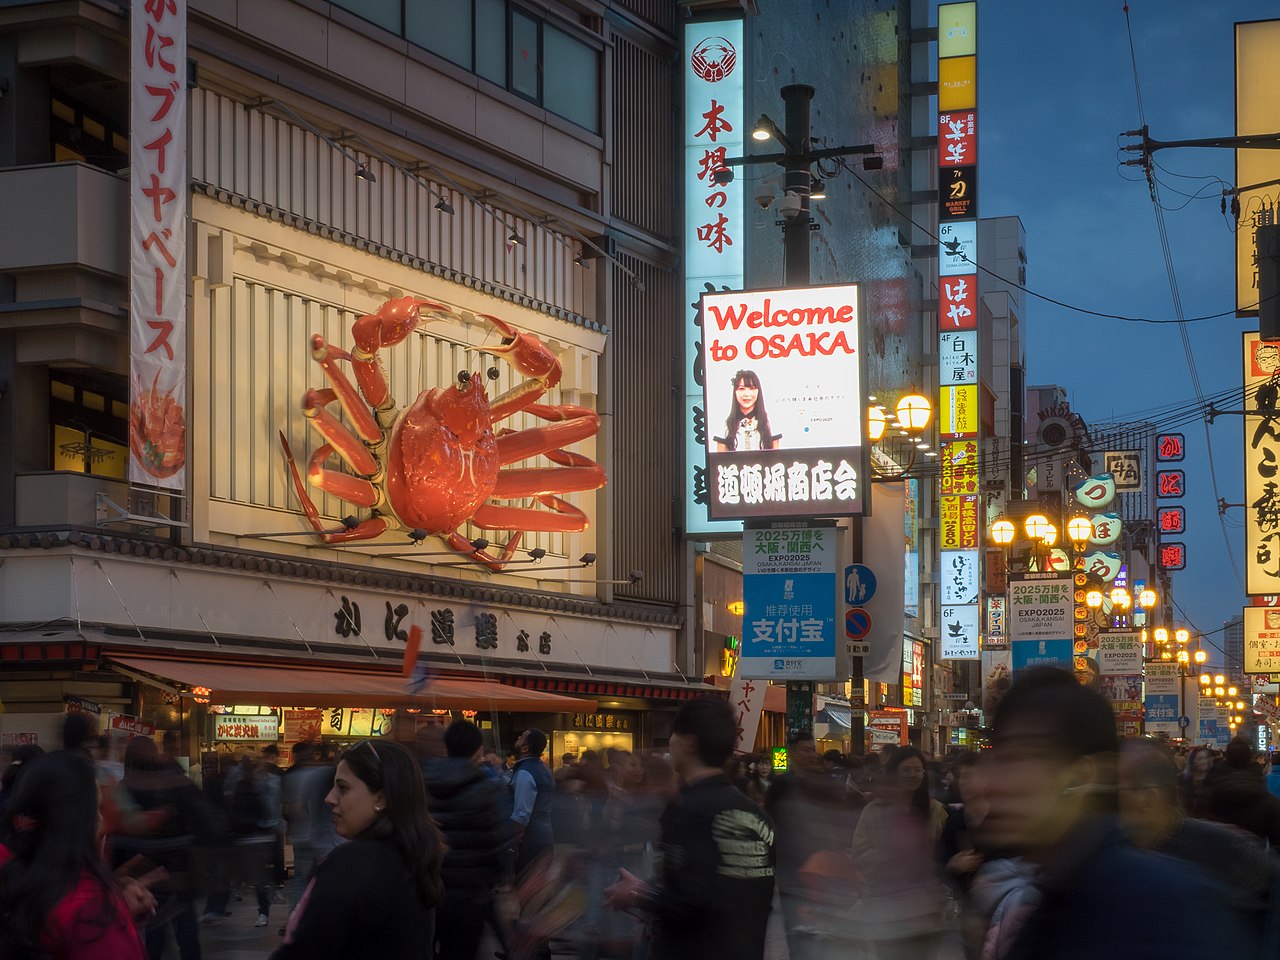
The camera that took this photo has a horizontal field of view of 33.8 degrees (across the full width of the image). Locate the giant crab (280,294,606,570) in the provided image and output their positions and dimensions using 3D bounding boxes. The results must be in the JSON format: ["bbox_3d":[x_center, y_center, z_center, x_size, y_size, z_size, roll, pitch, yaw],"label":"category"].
[{"bbox_3d":[-3.383,-1.203,33.918,2.261,4.207,5.824,-7,-10,38],"label":"giant crab"}]

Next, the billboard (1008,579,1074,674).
[{"bbox_3d":[8.054,2.780,42.468,1.243,1.744,1.436,-3,-8,10],"label":"billboard"}]
